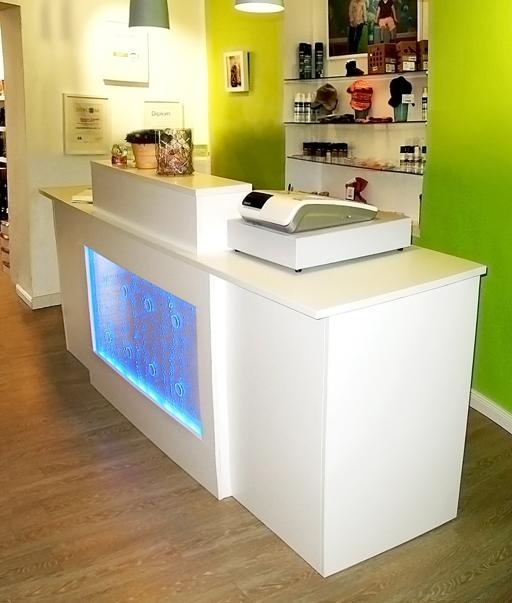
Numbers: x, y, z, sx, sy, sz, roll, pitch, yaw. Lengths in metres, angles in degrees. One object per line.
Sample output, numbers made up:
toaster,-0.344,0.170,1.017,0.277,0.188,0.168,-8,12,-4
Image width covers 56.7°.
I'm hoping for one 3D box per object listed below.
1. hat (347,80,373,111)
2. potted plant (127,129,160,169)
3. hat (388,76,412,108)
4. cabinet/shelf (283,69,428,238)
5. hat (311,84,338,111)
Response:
hat,0.838,-1.671,3.811,0.203,0.265,0.147,7,28,18
potted plant,-0.532,-0.771,2.363,0.160,0.181,0.181,11,23,26
hat,1.040,-1.518,3.422,0.156,0.247,0.119,13,26,26
cabinet/shelf,0.724,-1.134,3.335,0.307,1.307,1.213,-14,25,-33
hat,0.592,-1.749,4.058,0.138,0.274,0.097,4,9,2
